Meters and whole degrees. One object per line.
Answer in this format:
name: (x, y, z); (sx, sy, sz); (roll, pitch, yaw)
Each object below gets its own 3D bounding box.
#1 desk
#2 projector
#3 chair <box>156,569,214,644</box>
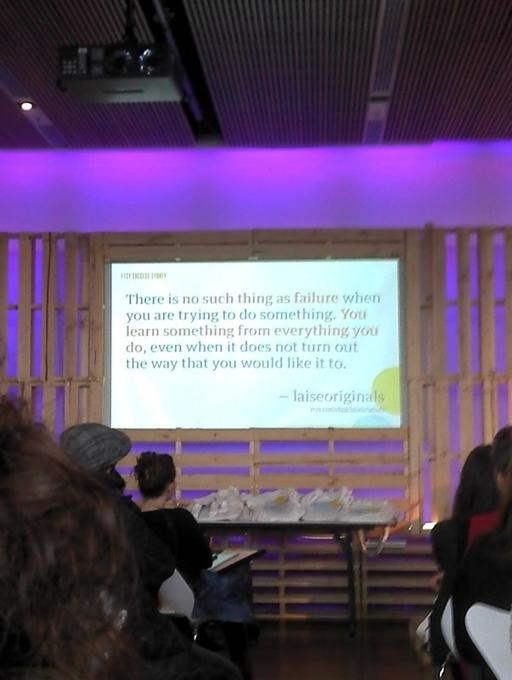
desk: (0.297, 1.465, 5.185); (1.373, 0.728, 0.724); (0, -4, 3)
projector: (-0.670, -1.316, 4.065); (0.579, 0.195, 0.378); (-4, -5, 5)
chair: (-0.280, 0.950, 2.887); (0.245, 0.353, 0.257); (2, -1, -8)
